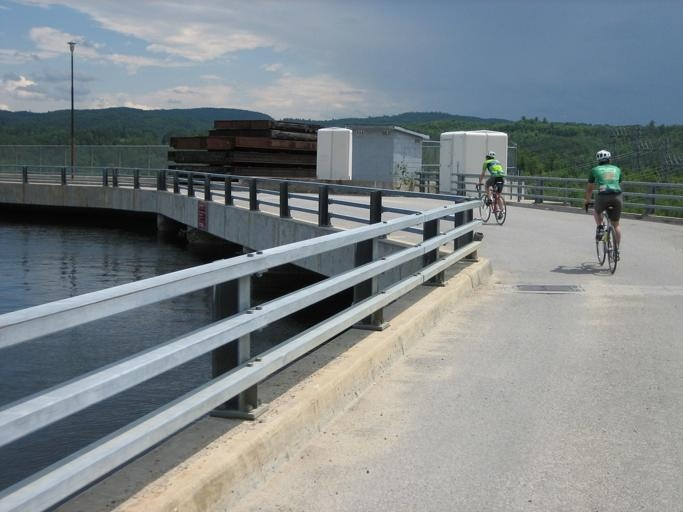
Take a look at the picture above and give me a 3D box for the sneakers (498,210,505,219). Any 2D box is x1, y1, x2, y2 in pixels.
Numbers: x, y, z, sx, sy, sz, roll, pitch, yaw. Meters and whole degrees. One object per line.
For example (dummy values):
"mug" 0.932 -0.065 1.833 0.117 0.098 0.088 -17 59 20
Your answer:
"sneakers" 5.145 -1.318 22.393 0.234 0.278 0.466 2 8 9
